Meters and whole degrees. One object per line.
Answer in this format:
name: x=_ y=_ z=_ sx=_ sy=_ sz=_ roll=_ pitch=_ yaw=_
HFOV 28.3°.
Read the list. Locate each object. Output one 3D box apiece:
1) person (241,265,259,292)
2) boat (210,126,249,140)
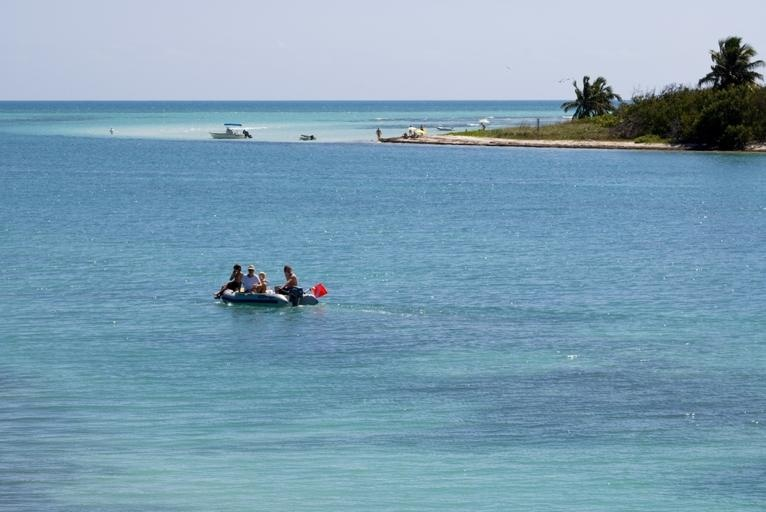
person: x=-6.501 y=1.116 z=73.665 sx=1.376 sy=1.340 sz=0.930 roll=-1 pitch=-29 yaw=0
boat: x=-17.080 y=-14.049 z=174.647 sx=2.214 sy=1.048 sz=3.639 roll=7 pitch=11 yaw=42
